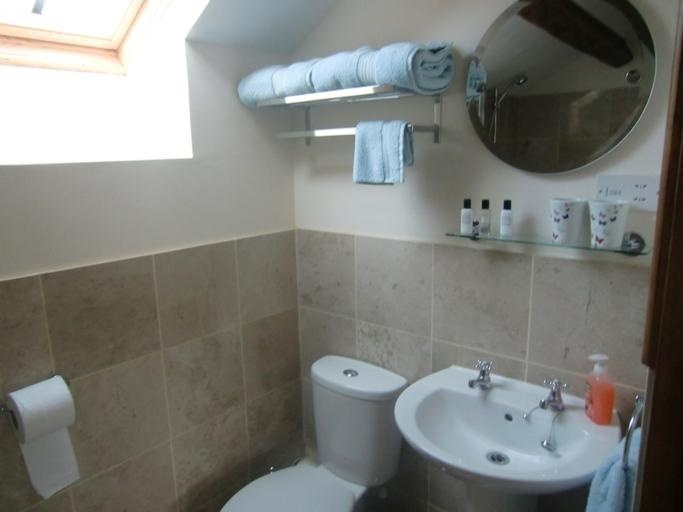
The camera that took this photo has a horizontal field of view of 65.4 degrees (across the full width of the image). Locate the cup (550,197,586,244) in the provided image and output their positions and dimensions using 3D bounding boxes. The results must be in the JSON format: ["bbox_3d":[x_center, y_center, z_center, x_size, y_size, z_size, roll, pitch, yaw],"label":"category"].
[{"bbox_3d":[0.774,-0.119,1.833,0.102,0.152,0.134,5,10,30],"label":"cup"}]

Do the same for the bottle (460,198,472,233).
[{"bbox_3d":[0.473,-0.147,2.009,0.043,0.133,0.090,2,9,13],"label":"bottle"}]

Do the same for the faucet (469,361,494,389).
[{"bbox_3d":[0.539,0.458,2.096,0.115,0.121,0.067,-7,9,-41],"label":"faucet"}]

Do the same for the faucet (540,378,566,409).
[{"bbox_3d":[0.768,0.496,1.930,0.084,0.108,0.161,4,10,25],"label":"faucet"}]

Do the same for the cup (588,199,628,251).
[{"bbox_3d":[0.859,-0.115,1.748,0.138,0.175,0.139,-1,13,0],"label":"cup"}]

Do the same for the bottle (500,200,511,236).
[{"bbox_3d":[0.597,-0.135,1.928,0.036,0.131,0.033,0,8,0],"label":"bottle"}]

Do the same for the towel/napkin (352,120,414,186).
[{"bbox_3d":[0.143,-0.402,2.070,0.220,0.233,0.031,6,10,33],"label":"towel/napkin"}]

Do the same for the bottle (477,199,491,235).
[{"bbox_3d":[0.532,-0.144,1.977,0.038,0.131,0.081,2,9,13],"label":"bottle"}]

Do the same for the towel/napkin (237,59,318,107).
[{"bbox_3d":[-0.276,-0.722,2.198,0.245,0.083,0.209,-23,34,-8],"label":"towel/napkin"}]

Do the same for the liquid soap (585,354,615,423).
[{"bbox_3d":[0.898,0.457,1.830,0.101,0.242,0.067,2,9,11],"label":"liquid soap"}]
